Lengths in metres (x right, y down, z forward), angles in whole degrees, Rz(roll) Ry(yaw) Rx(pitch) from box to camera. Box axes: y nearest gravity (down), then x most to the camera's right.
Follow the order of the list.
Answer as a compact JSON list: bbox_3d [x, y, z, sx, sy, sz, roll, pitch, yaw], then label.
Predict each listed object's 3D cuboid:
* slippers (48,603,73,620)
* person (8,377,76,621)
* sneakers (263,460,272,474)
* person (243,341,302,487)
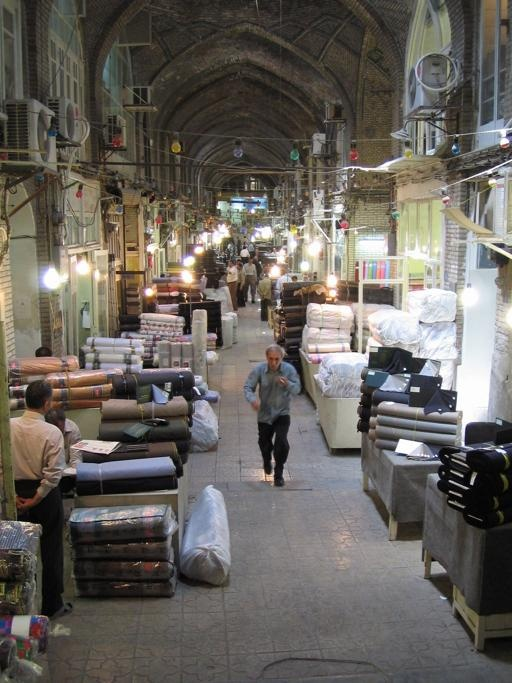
[{"bbox_3d":[-1.118,1.558,3.455,0.035,0.027,0.098,5,12,21],"label":"slippers"},{"bbox_3d":[-1.262,0.912,3.513,0.328,1.364,0.483,0,2,-22],"label":"person"},{"bbox_3d":[0.122,1.354,6.498,0.069,0.198,0.084,1,41,2],"label":"sneakers"},{"bbox_3d":[0.154,0.768,6.108,0.537,1.473,0.959,1,2,-1],"label":"person"}]
